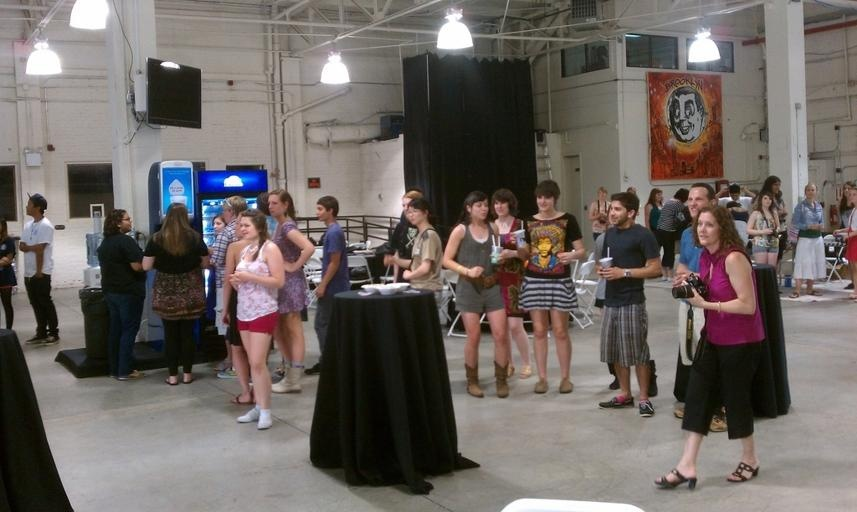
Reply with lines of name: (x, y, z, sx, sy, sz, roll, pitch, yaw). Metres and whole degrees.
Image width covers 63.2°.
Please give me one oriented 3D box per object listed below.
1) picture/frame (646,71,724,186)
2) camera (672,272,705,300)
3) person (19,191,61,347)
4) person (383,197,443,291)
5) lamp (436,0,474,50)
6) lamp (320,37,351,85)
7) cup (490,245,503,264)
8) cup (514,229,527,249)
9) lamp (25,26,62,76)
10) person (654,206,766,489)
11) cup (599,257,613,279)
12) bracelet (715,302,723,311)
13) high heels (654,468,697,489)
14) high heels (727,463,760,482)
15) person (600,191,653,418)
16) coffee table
picture/frame: (6.665, -3.334, 18.178, 2.435, 2.785, 0.415, -7, 13, -23)
camera: (2.151, 0.259, 5.789, 0.246, 0.139, 0.224, -9, 23, -16)
person: (-5.765, 0.190, 10.254, 0.520, 2.141, 0.750, -8, 14, -27)
person: (-0.172, -0.001, 7.596, 0.623, 1.217, 1.513, -3, 12, -3)
lamp: (0.402, -3.549, 10.905, 0.491, 0.656, 0.727, -1, 12, 3)
lamp: (-1.717, -3.536, 12.623, 0.499, 0.811, 0.489, 2, 19, 5)
cup: (0.711, 0.000, 7.332, 0.131, 0.205, 0.171, -1, 12, 3)
cup: (0.963, -0.174, 7.347, 0.122, 0.187, 0.152, 0, 12, 8)
lamp: (-6.585, -3.351, 11.875, 0.459, 0.555, 0.969, -7, 13, -24)
person: (2.366, 0.767, 5.793, 0.774, 2.283, 0.660, -13, 16, -40)
cup: (1.756, 0.119, 6.904, 0.121, 0.191, 0.183, 1, 12, 13)
bracelet: (2.384, 0.426, 5.728, 0.042, 0.074, 0.051, 2, 13, 17)
high heels: (2.080, 1.872, 5.882, 0.323, 0.133, 0.150, 2, -5, 6)
high heels: (2.670, 1.827, 5.908, 0.271, 0.106, 0.134, -2, -3, -29)
person: (2.007, 0.487, 7.038, 0.592, 2.199, 0.521, 2, 13, 17)
coffee table: (-0.350, 1.208, 6.720, 1.479, 1.499, 1.665, -1, -1, 31)
